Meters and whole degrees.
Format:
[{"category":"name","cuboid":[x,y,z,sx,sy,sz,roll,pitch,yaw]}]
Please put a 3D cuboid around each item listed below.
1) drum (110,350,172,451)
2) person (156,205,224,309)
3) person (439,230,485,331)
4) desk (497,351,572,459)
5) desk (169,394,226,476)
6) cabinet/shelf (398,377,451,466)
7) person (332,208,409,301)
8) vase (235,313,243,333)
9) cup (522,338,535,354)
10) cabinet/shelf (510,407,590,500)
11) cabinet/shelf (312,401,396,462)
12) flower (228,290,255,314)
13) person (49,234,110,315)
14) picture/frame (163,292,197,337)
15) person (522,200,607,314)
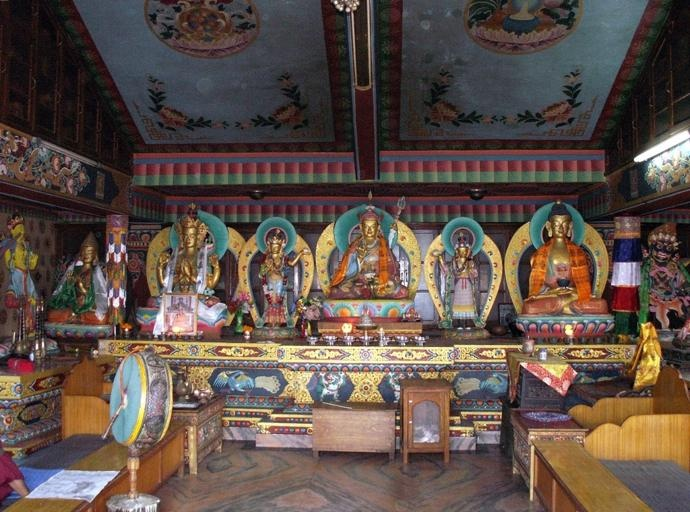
[{"category":"drum","cuboid":[-1.694,1.149,5.018,0.460,0.768,0.409,0,-10,-7]},{"category":"person","cuboid":[-2.087,0.026,8.312,0.950,1.363,0.601,-1,-10,-5]},{"category":"person","cuboid":[1.531,0.332,8.176,0.521,1.275,0.683,-3,-10,8]},{"category":"desk","cuboid":[1.913,1.480,6.201,0.539,0.818,0.857,1,-8,1]},{"category":"desk","cuboid":[-1.616,1.841,6.442,0.499,0.608,1.315,-1,-8,1]},{"category":"cabinet/shelf","cuboid":[0.818,1.726,6.409,0.537,0.715,0.458,0,-9,3]},{"category":"person","cuboid":[0.338,-0.005,8.261,1.392,1.462,0.743,0,-9,4]},{"category":"vase","cuboid":[-1.420,0.880,8.145,0.098,0.240,0.181,0,-10,-10]},{"category":"cup","cuboid":[1.945,0.913,6.381,0.132,0.140,0.159,3,-9,-4]},{"category":"cabinet/shelf","cuboid":[1.874,1.811,5.751,0.563,0.561,0.995,-1,-8,3]},{"category":"cabinet/shelf","cuboid":[0.117,1.816,6.475,0.896,0.477,0.455,-2,-2,10]},{"category":"flower","cuboid":[-1.421,0.613,8.356,0.334,0.324,0.178,2,13,16]},{"category":"person","cuboid":[-3.641,0.314,8.503,0.858,1.212,0.306,-5,-11,21]},{"category":"picture/frame","cuboid":[-2.084,0.742,7.692,0.547,0.562,0.064,0,-14,1]},{"category":"person","cuboid":[2.701,0.030,7.710,0.956,1.438,0.540,-3,-10,8]}]
